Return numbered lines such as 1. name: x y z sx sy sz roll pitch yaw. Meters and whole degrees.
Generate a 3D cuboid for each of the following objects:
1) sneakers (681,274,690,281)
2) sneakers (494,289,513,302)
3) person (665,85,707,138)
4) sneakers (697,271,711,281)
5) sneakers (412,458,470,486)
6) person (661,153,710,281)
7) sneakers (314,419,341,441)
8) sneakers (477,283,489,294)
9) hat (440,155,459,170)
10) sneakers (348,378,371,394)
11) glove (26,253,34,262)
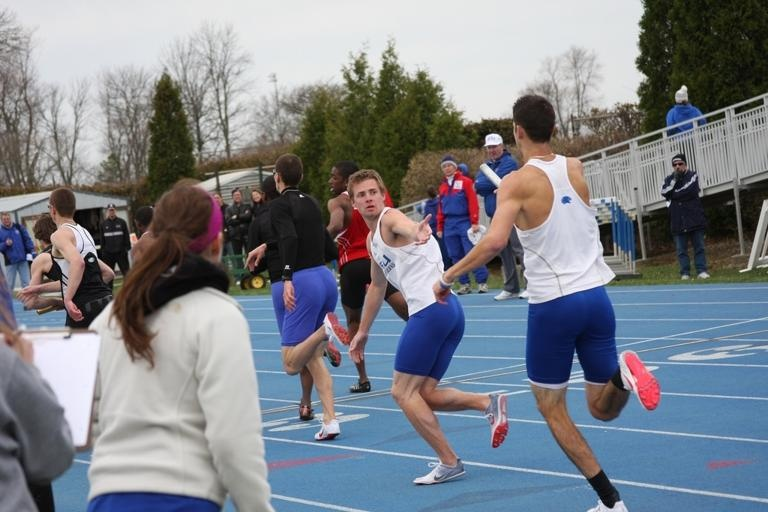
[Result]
1. sneakers: 5.946 0.427 13.399 0.136 0.108 0.145 -1 0 12
2. sneakers: 2.405 0.800 13.589 0.435 0.204 0.163 -6 1 -14
3. person: 7.446 -3.620 16.860 0.814 1.321 1.760 -3 4 24
4. sneakers: 6.195 0.392 13.150 0.141 0.141 0.320 -5 -5 -2
5. sneakers: 0.454 1.716 5.423 0.448 0.190 0.169 -9 -8 -3
6. person: 5.980 -0.793 13.402 0.700 2.476 0.875 -7 5 -44
7. sneakers: -0.543 1.668 6.486 0.124 0.167 0.339 0 -9 -25
8. sneakers: 2.159 0.719 14.845 0.200 0.275 0.625 -1 1 8
9. hat: 1.334 -1.931 13.953 0.311 0.347 0.419 -28 -1 13
10. sneakers: -0.282 1.559 8.101 0.291 0.147 0.118 -6 -6 43
11. glove: -10.432 0.041 19.992 0.202 0.243 0.163 1 8 3
